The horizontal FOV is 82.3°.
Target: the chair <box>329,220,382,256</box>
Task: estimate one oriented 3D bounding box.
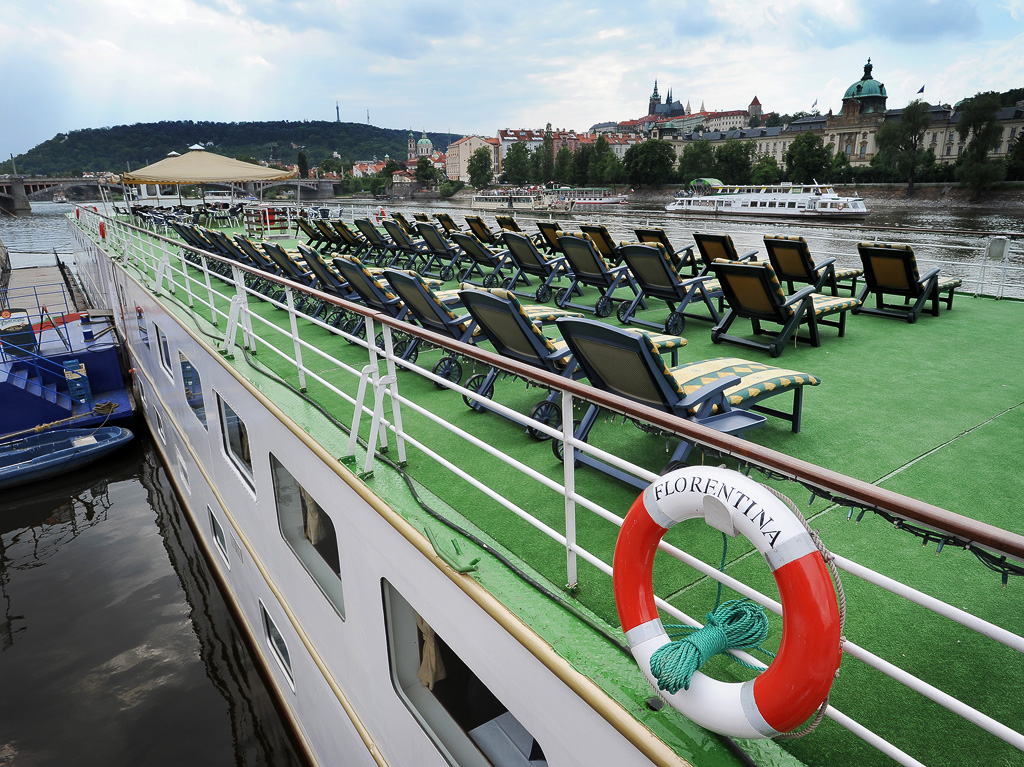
[{"bbox_3d":[-3.765,-3.355,13.729,1.142,0.982,0.801,-14,32,-28],"label":"chair"}]

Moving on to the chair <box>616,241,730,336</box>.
[{"bbox_3d":[2.262,-1.323,7.803,1.493,1.059,1.126,-15,22,-33],"label":"chair"}]

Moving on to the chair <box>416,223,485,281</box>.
[{"bbox_3d":[-1.378,-2.728,11.818,0.915,0.986,1.256,20,27,40],"label":"chair"}]

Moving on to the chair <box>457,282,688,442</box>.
[{"bbox_3d":[0.648,-0.493,5.274,1.067,1.068,1.959,22,36,37],"label":"chair"}]

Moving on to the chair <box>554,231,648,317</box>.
[{"bbox_3d":[1.338,-1.607,8.527,1.211,1.044,0.878,-14,22,-36],"label":"chair"}]

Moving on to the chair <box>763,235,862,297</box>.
[{"bbox_3d":[4.129,-1.500,7.929,1.267,0.681,0.712,-2,15,-18],"label":"chair"}]

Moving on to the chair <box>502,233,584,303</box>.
[{"bbox_3d":[0.562,-1.966,9.682,1.025,1.084,1.385,15,24,38],"label":"chair"}]

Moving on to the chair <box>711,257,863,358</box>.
[{"bbox_3d":[3.238,-0.933,6.876,1.707,0.882,0.976,-10,16,-28],"label":"chair"}]

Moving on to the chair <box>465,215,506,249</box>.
[{"bbox_3d":[-0.418,-3.063,12.239,1.050,0.681,0.755,-11,26,-38],"label":"chair"}]

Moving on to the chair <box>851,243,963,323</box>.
[{"bbox_3d":[5.374,-1.399,7.935,1.440,0.859,0.910,-9,17,-33],"label":"chair"}]

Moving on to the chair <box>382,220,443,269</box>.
[{"bbox_3d":[-2.219,-2.814,12.237,1.327,1.101,0.938,-17,32,-31],"label":"chair"}]

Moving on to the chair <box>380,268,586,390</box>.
[{"bbox_3d":[-0.411,-0.720,6.093,1.298,1.124,0.921,-24,36,-36],"label":"chair"}]

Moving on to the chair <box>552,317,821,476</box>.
[{"bbox_3d":[1.273,-0.104,4.160,1.636,0.861,1.157,-20,26,-35],"label":"chair"}]
